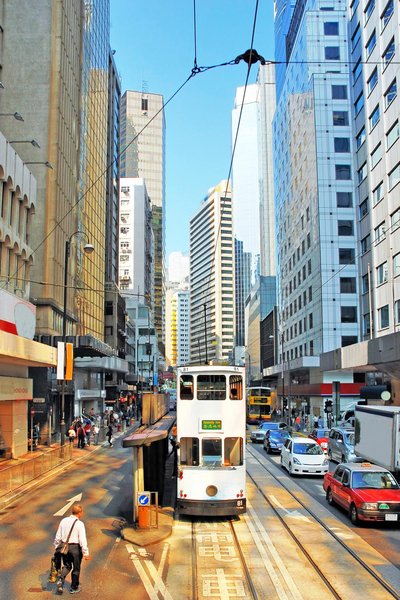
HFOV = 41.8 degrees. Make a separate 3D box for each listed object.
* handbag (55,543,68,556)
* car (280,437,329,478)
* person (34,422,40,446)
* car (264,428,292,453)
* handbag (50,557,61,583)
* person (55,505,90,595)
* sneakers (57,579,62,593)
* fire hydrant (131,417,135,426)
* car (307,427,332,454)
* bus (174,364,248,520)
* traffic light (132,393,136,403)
[{"bbox_3d":[-1.963,3.466,7.423,0.218,0.158,0.073,-8,-12,31],"label":"handbag"},{"bbox_3d":[4.556,6.673,22.705,1.665,1.541,2.450,1,-13,-6],"label":"car"},{"bbox_3d":[-10.334,8.347,33.089,0.376,1.552,2.792,3,-13,-17],"label":"person"},{"bbox_3d":[4.561,8.393,31.956,0.906,1.182,2.860,0,-16,-1],"label":"car"},{"bbox_3d":[-2.087,3.857,7.504,0.067,0.374,0.169,-15,-20,20],"label":"handbag"},{"bbox_3d":[-1.807,3.538,7.506,0.569,1.218,0.392,-4,-9,21],"label":"person"},{"bbox_3d":[-2.002,4.031,7.486,0.060,0.126,0.226,0,-31,-7],"label":"sneakers"},{"bbox_3d":[-7.103,12.636,55.142,0.310,0.933,0.804,-1,-4,4],"label":"fire hydrant"},{"bbox_3d":[7.275,8.171,31.027,0.867,1.349,2.415,0,-17,0],"label":"car"},{"bbox_3d":[0.295,3.512,13.485,1.743,3.618,0.594,1,-8,-6],"label":"bus"},{"bbox_3d":[-11.261,16.397,89.107,0.705,2.205,0.919,1,-6,-7],"label":"traffic light"}]
